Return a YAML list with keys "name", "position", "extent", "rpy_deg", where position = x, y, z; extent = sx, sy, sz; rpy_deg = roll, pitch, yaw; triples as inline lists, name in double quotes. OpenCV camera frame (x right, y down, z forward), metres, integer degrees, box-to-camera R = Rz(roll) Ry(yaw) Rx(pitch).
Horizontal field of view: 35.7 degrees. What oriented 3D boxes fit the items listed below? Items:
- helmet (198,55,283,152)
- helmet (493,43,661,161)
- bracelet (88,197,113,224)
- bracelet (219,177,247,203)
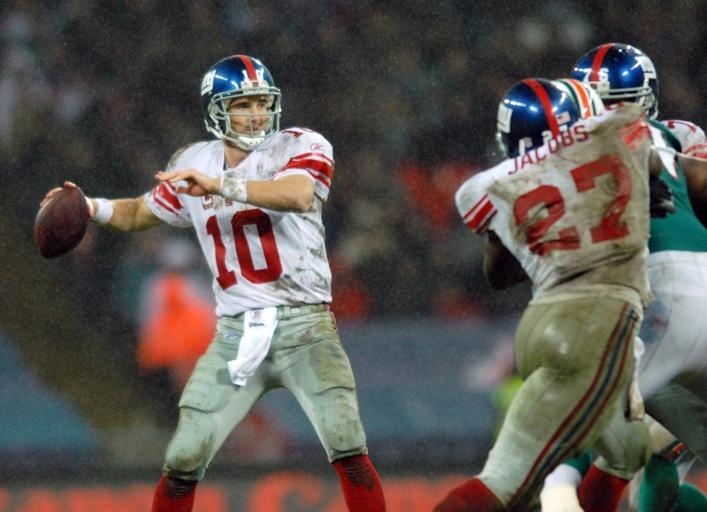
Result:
- name: "helmet"
  position: [-0.539, -0.767, 5.238]
  extent: [0.367, 0.400, 0.466]
  rpy_deg: [-7, 22, -24]
- name: "helmet"
  position: [0.864, -0.644, 4.676]
  extent: [0.509, 0.264, 0.307]
  rpy_deg: [-28, 25, -12]
- name: "bracelet"
  position: [-1.175, -0.211, 5.190]
  extent: [0.107, 0.108, 0.116]
  rpy_deg: [1, 9, 4]
- name: "bracelet"
  position: [-0.529, -0.289, 4.855]
  extent: [0.115, 0.103, 0.069]
  rpy_deg: [-1, 10, -8]
